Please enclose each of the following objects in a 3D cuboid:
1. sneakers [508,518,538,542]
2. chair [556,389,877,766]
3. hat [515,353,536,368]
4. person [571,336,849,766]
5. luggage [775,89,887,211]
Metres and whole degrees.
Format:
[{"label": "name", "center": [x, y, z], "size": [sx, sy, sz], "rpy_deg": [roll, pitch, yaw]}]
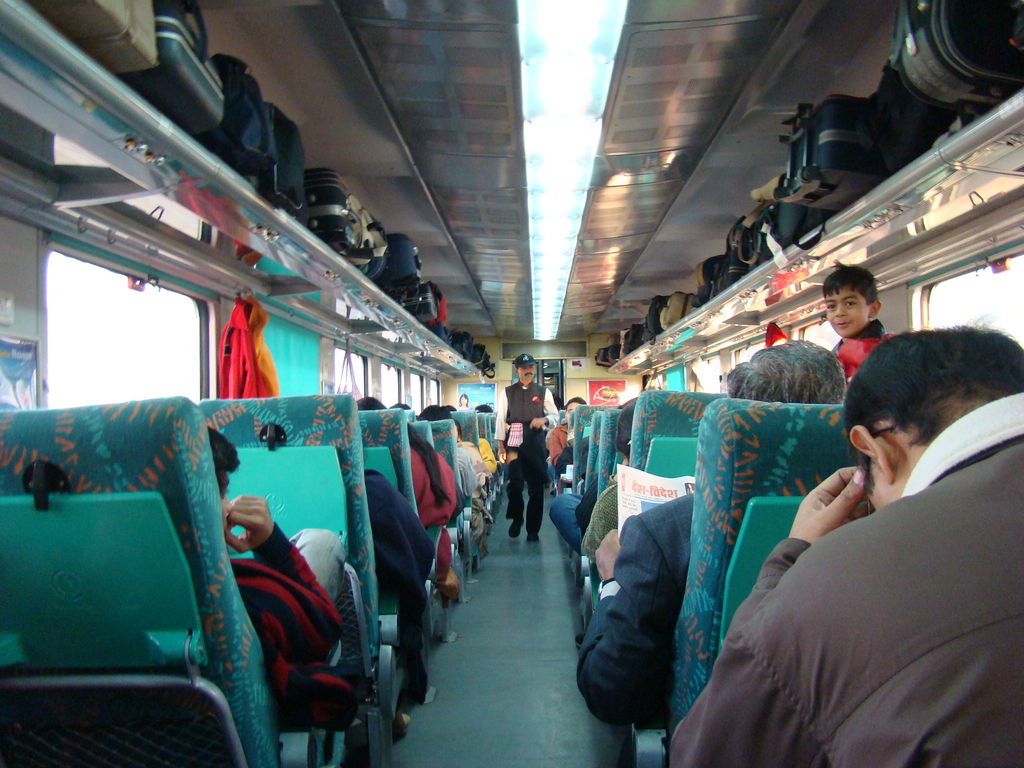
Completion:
[{"label": "sneakers", "center": [0.137, 1.527, 7.960], "size": [0.151, 0.277, 0.436], "rpy_deg": [3, 6, -12]}, {"label": "chair", "center": [0.569, 0.381, 1.909], "size": [0.529, 0.888, 0.748], "rpy_deg": [0, -4, -11]}, {"label": "hat", "center": [0.149, -0.298, 8.451], "size": [0.180, 0.135, 0.257], "rpy_deg": [0, -7, -5]}, {"label": "person", "center": [0.580, 0.511, 2.278], "size": [0.547, 0.921, 0.774], "rpy_deg": [4, -3, -19]}, {"label": "luggage", "center": [1.801, -1.270, 4.225], "size": [0.482, 0.427, 0.604], "rpy_deg": [5, -3, 0]}]
